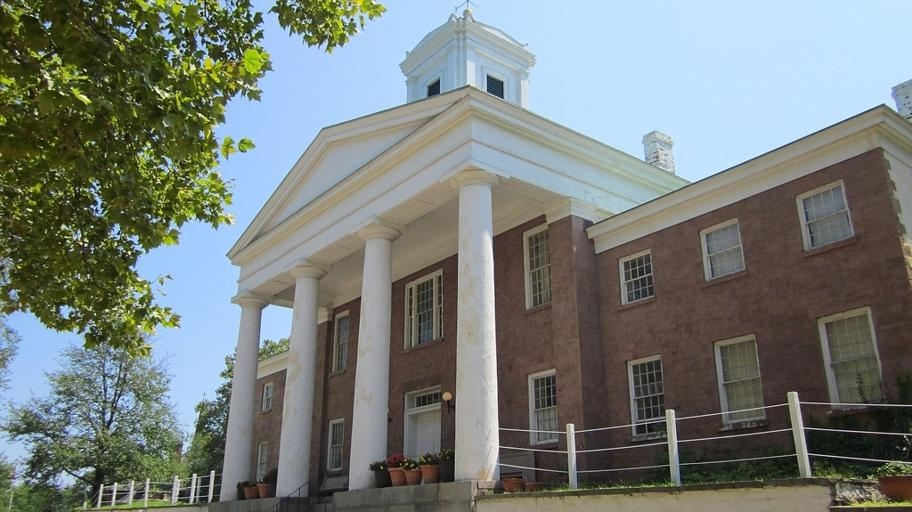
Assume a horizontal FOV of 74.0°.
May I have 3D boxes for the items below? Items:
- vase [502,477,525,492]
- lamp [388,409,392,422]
[{"bbox_3d":[1.779,7.386,19.442,0.593,0.340,0.587,-6,-13,28],"label":"vase"},{"bbox_3d":[-2.988,7.360,27.677,0.132,0.546,0.319,15,-33,-23],"label":"lamp"}]
